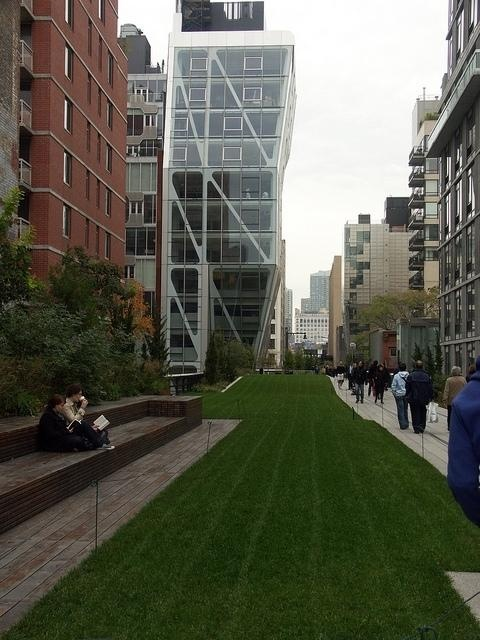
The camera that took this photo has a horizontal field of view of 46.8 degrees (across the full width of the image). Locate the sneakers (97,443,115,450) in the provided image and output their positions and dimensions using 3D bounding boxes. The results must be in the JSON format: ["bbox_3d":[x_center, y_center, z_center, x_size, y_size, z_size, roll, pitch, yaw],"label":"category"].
[{"bbox_3d":[-2.255,2.081,9.242,0.227,0.139,0.099,-1,-2,5],"label":"sneakers"}]

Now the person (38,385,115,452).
[{"bbox_3d":[-2.777,1.691,9.525,0.995,1.365,0.942,0,-4,-1],"label":"person"}]

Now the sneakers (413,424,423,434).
[{"bbox_3d":[4.861,2.933,15.107,0.192,0.247,0.182,-1,2,11],"label":"sneakers"}]
